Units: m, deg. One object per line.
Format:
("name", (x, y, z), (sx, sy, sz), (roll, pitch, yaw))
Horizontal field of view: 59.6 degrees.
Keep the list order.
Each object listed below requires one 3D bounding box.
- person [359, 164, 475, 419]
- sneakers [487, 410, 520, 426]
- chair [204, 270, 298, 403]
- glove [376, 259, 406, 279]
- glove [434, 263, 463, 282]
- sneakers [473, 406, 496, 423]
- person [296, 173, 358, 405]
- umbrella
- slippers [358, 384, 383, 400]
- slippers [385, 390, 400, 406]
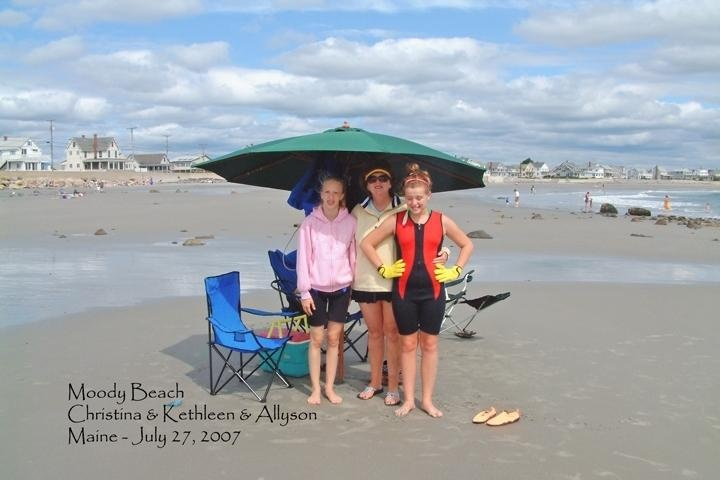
("person", (0.682, 0.608, 7.709), (1.247, 3.037, 0.684), (2, 9, 8))
("sneakers", (1.726, 2.125, 7.542), (0.432, 0.158, 0.149), (-3, 32, -24))
("chair", (-1.526, 1.212, 8.476), (1.001, 1.518, 1.495), (-2, 9, -13))
("glove", (0.392, 0.363, 7.632), (0.292, 0.254, 0.194), (8, 12, 41))
("glove", (1.086, 0.406, 7.698), (0.189, 0.228, 0.428), (7, 10, 36))
("sneakers", (1.506, 2.123, 7.613), (0.388, 0.158, 0.120), (4, 23, -48))
("person", (-0.411, 0.629, 7.915), (0.725, 2.867, 0.508), (0, 9, -2))
("umbrella", (-0.666, -0.109, 9.206), (3.779, 2.880, 3.610), (4, 1, -26))
("slippers", (0.141, 1.995, 8.181), (0.314, 0.116, 0.148), (2, -5, -43))
("slippers", (0.415, 2.020, 7.959), (0.173, 0.092, 0.273), (0, -6, 3))
